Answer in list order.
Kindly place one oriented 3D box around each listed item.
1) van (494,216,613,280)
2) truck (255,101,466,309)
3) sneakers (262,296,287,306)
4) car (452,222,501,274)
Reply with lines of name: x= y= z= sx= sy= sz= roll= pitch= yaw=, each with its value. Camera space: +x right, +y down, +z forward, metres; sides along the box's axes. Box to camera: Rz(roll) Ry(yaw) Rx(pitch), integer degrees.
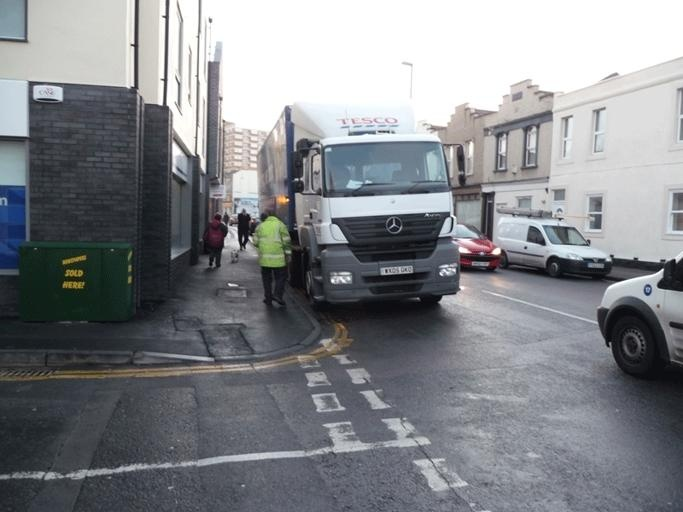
van: x=8.501 y=-0.404 z=19.465 sx=2.244 sy=2.063 sz=4.230 roll=0 pitch=2 yaw=-27
truck: x=0.227 y=-1.198 z=12.993 sx=2.641 sy=3.945 sz=7.219 roll=-2 pitch=0 yaw=-15
sneakers: x=-1.586 y=1.045 z=11.168 sx=0.591 sy=0.282 sz=0.223 roll=9 pitch=1 yaw=-20
car: x=5.161 y=-0.342 z=20.497 sx=1.832 sy=1.768 sz=3.953 roll=0 pitch=1 yaw=-7
